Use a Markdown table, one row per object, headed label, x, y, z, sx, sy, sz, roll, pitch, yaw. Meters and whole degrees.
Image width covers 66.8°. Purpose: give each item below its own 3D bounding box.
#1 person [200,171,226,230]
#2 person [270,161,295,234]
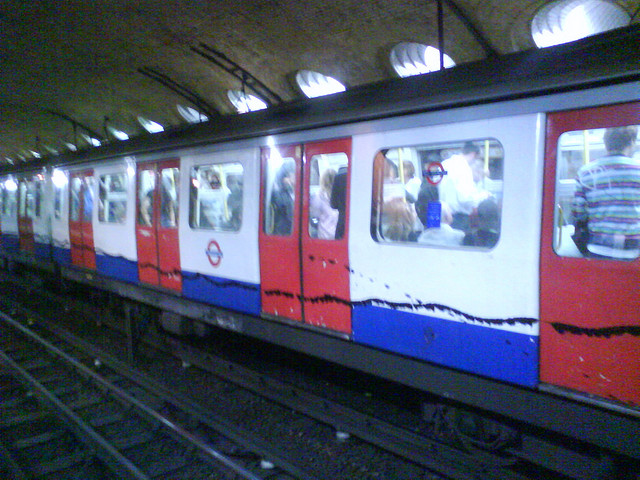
| label | x | y | z | sx | sy | sz | roll | pitch | yaw |
| --- | --- | --- | --- | --- | --- | --- | --- | --- | --- |
| person | -1.547 | -0.586 | 7.071 | 0.468 | 0.746 | 0.243 | 6 | 4 | 40 |
| person | -0.484 | -0.521 | 6.368 | 0.408 | 1.292 | 0.300 | 2 | 28 | 1 |
